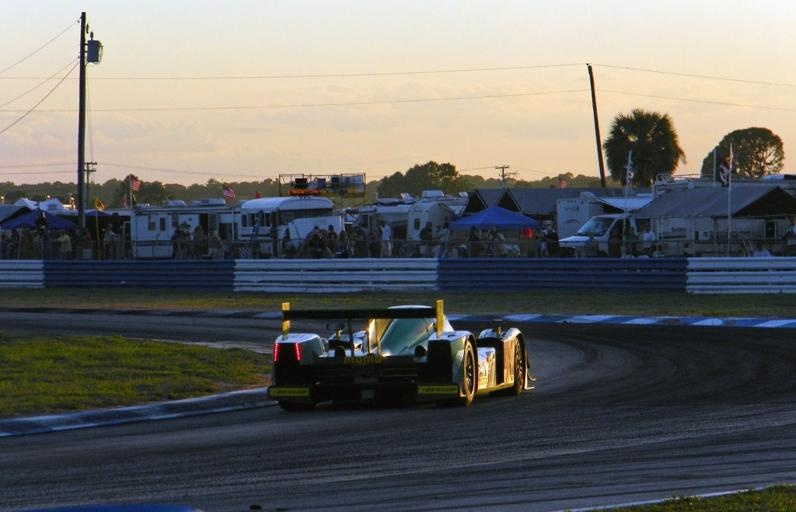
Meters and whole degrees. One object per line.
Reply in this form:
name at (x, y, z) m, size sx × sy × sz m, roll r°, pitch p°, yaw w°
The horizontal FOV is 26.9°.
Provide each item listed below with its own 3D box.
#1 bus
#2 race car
bus at (-3.977, -1.165, 62.034) m, size 4.114 × 2.359 × 2.736 m, roll -2°, pitch 2°, yaw 32°
race car at (-0.092, 2.204, 36.519) m, size 5.567 × 2.285 × 1.497 m, roll -1°, pitch -1°, yaw -5°
